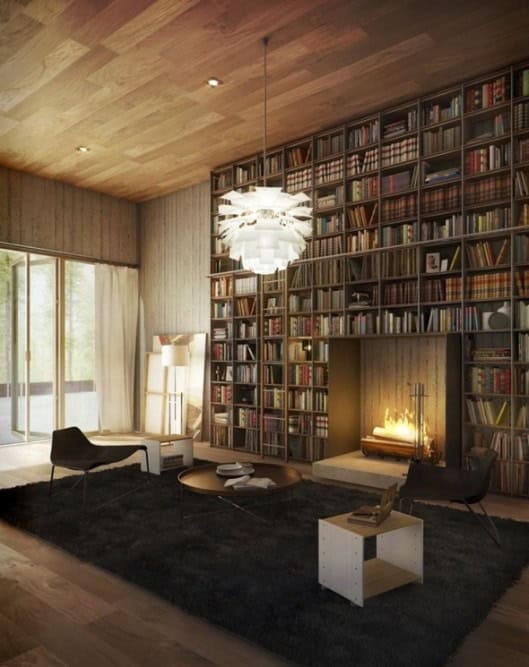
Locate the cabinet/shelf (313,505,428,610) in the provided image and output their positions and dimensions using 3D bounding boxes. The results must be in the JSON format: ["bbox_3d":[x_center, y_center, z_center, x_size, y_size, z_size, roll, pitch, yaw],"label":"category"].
[{"bbox_3d":[0.533,1.154,2.867,0.557,0.357,0.386,2,-3,-42],"label":"cabinet/shelf"}]

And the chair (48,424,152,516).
[{"bbox_3d":[-1.453,1.256,4.633,0.581,0.555,0.951,-4,-2,27],"label":"chair"}]

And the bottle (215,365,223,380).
[{"bbox_3d":[-0.576,0.506,6.969,0.130,0.158,0.056,0,-4,0],"label":"bottle"}]

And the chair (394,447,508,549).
[{"bbox_3d":[1.137,1.075,3.581,0.719,0.493,0.665,-4,0,19],"label":"chair"}]

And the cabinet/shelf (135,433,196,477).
[{"bbox_3d":[-1.017,1.176,5.570,0.352,0.328,0.505,-6,-7,40],"label":"cabinet/shelf"}]

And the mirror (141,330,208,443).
[{"bbox_3d":[-1.167,0.747,7.350,0.210,1.617,1.551,4,-3,-43],"label":"mirror"}]

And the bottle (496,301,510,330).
[{"bbox_3d":[1.958,-0.144,4.556,0.086,0.202,0.144,-1,0,19],"label":"bottle"}]

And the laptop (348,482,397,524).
[{"bbox_3d":[0.555,0.921,2.888,0.195,0.157,0.262,-2,-5,28],"label":"laptop"}]
